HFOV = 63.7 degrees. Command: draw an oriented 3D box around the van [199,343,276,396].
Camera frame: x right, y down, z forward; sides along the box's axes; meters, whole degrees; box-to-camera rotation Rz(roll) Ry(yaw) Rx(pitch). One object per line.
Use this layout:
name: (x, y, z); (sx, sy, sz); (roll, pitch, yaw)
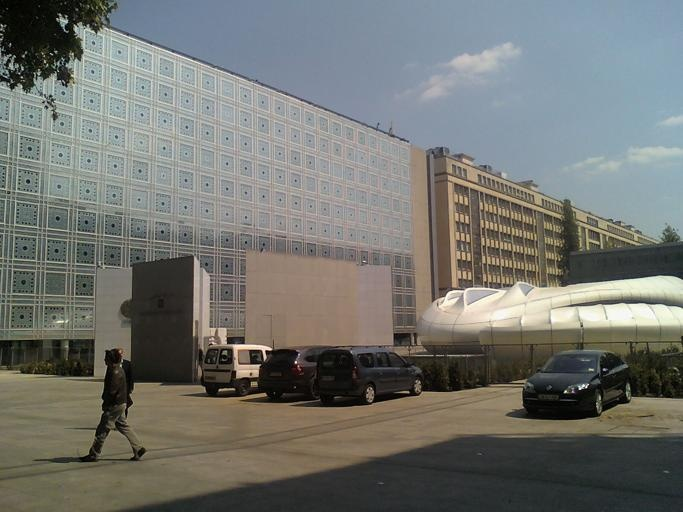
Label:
van: (-4.230, 4.602, 23.620); (1.924, 1.542, 2.792); (-3, -3, 32)

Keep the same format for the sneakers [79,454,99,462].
sneakers: (-5.181, 4.114, 11.318); (0.400, 0.185, 0.155); (-2, -6, 11)

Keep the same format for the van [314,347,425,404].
van: (0.922, 4.074, 20.164); (1.839, 1.471, 3.261); (-5, -3, 43)

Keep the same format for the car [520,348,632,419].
car: (7.250, 3.824, 16.891); (4.012, 1.907, 1.727); (9, -16, -44)

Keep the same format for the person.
person: (-4.705, 3.086, 11.537); (1.126, 2.285, 0.631); (2, -11, -21)
